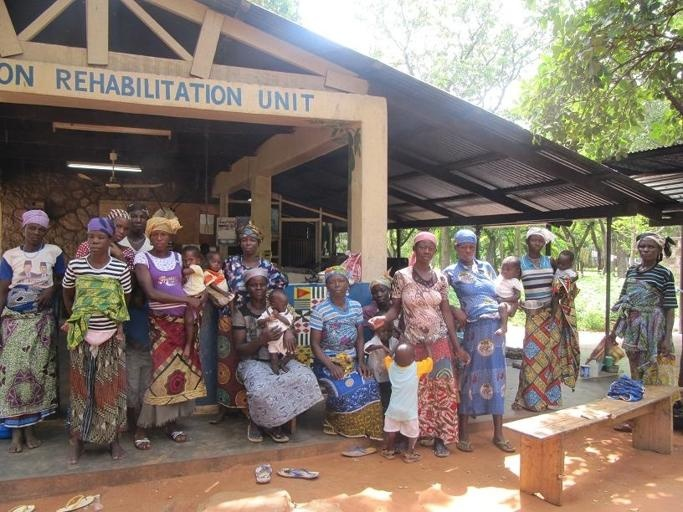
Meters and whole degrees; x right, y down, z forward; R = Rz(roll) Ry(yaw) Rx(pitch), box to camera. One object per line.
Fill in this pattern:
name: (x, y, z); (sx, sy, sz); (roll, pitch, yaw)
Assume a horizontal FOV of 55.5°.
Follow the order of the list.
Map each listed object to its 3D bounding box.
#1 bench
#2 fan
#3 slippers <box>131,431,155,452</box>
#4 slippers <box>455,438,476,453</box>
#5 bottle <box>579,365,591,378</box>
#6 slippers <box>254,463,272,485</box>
bench: (2.632, 1.967, 6.897); (2.160, 0.699, 0.599); (-5, 15, -33)
fan: (-4.221, -1.509, 12.027); (0.997, 0.376, 0.891); (6, -10, -34)
slippers: (-2.114, 1.962, 6.872); (0.104, 0.071, 0.270); (4, 4, -32)
slippers: (1.370, 2.146, 7.303); (0.124, 0.151, 0.348); (2, -14, -5)
bottle: (3.664, 1.761, 9.836); (0.178, 0.174, 0.172); (1, 1, -20)
slippers: (-0.801, 2.222, 6.573); (0.159, 0.068, 0.261); (2, 13, -5)
